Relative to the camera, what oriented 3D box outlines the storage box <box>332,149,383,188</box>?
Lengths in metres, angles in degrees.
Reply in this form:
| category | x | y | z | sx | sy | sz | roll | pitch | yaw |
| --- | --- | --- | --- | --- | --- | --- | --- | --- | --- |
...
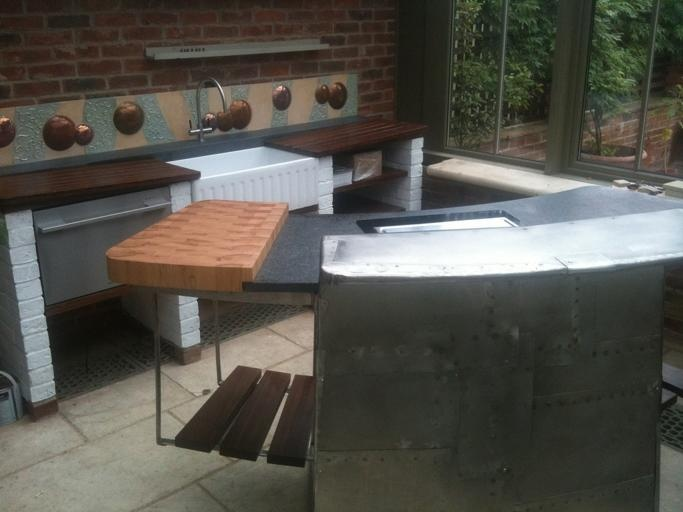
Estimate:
| category | x | y | z | sx | sy | sz | roll | pitch | yaw |
| --- | --- | --- | --- | --- | --- | --- | --- | --- | --- |
| storage box | 0.110 | -0.613 | 3.935 | 0.342 | 0.225 | 0.290 | -3 | 14 | 1 |
